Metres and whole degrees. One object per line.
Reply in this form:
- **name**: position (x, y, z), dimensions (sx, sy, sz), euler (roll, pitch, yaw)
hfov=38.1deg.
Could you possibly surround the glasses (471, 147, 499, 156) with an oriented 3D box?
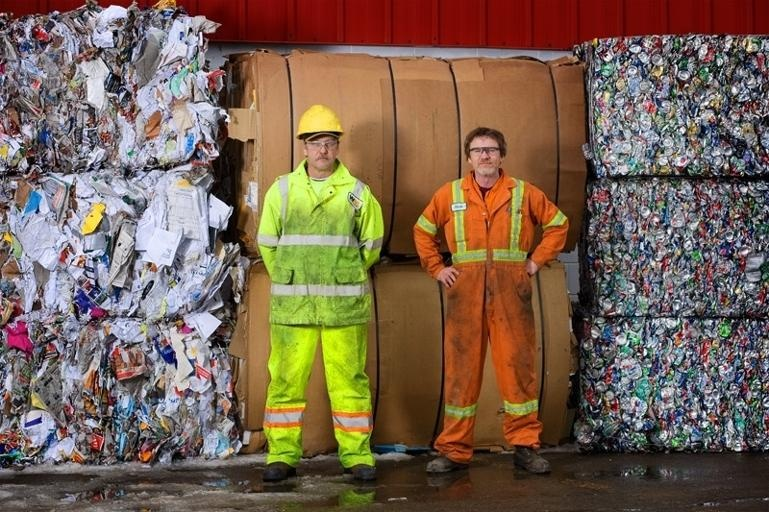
- **glasses**: position (0.802, -0.834, 8.972), dimensions (0.224, 0.052, 0.072), euler (-4, -1, 14)

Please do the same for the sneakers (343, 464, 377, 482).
- **sneakers**: position (-0.189, 1.708, 8.804), dimensions (0.125, 0.083, 0.191), euler (2, -1, -40)

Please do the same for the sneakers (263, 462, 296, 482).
- **sneakers**: position (-0.834, 1.699, 8.801), dimensions (0.102, 0.125, 0.293), euler (-4, -9, 29)

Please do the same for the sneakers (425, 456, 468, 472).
- **sneakers**: position (0.501, 1.667, 9.060), dimensions (0.305, 0.135, 0.137), euler (3, -3, -24)

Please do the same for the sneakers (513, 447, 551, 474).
- **sneakers**: position (1.168, 1.643, 8.970), dimensions (0.141, 0.263, 0.333), euler (-4, -1, -38)
